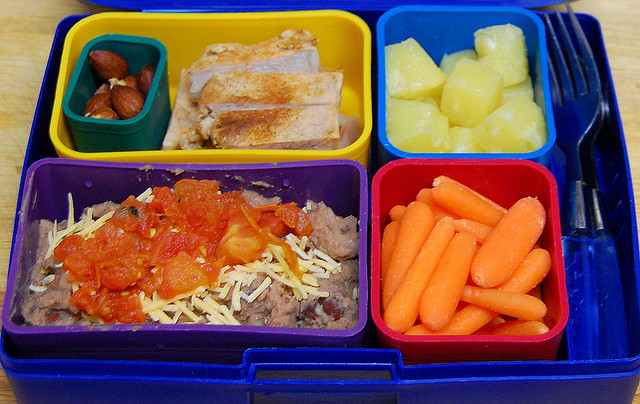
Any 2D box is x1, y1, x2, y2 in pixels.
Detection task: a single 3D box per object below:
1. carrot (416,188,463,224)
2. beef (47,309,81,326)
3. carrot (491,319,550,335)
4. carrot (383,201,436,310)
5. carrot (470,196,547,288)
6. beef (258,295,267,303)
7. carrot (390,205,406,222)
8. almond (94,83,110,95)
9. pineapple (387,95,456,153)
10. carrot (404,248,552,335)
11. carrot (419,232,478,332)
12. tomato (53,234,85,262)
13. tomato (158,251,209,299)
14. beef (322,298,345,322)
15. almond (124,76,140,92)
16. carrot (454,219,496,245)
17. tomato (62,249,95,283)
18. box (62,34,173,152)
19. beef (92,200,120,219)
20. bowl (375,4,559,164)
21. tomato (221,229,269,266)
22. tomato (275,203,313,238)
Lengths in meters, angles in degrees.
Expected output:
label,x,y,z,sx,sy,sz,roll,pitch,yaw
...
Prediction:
label,x,y,z,sx,sy,sz,roll,pitch,yaw
carrot,0.442,0.011,2.282,0.193,0.064,0.092,31,76,8
beef,-0.937,0.409,2.168,0.067,0.019,0.077,2,59,1
carrot,0.700,0.437,2.088,0.180,0.048,0.058,-10,76,21
carrot,0.305,0.158,2.267,0.156,0.562,0.153,-3,31,-8
carrot,0.689,0.156,2.263,0.172,0.142,0.402,32,76,21
beef,-0.209,0.355,2.194,0.032,0.023,0.009,-15,42,-21
carrot,0.304,0.039,2.354,0.054,0.066,0.056,-18,81,3
almond,-0.954,-0.502,2.625,0.049,0.010,0.052,-5,80,5
pineapple,0.408,-0.328,2.506,0.251,0.131,0.218,3,40,-1
carrot,0.554,0.319,2.118,0.379,0.081,0.100,-33,62,-3
carrot,0.459,0.264,2.177,0.127,0.133,0.401,26,58,3
tomato,-0.941,0.164,2.250,0.117,0.037,0.075,-51,27,-19
tomato,-0.502,0.260,2.181,0.185,0.115,0.116,-8,41,-13
beef,0.052,0.390,2.209,0.083,0.041,0.059,32,48,29
almond,-0.833,-0.536,2.651,0.069,0.039,0.071,-18,73,-11
carrot,0.578,0.098,2.309,0.193,0.064,0.060,18,61,6
tomato,-0.889,0.217,2.176,0.046,0.143,0.138,-14,61,14
box,-0.847,-0.428,2.700,0.378,0.360,0.564,3,59,1
beef,-0.864,0.020,2.429,0.102,0.024,0.075,-31,50,-26
bowl,0.597,-0.499,2.526,0.748,0.406,0.770,2,40,-2
tomato,-0.277,0.168,2.227,0.170,0.110,0.079,-25,47,-30
tomato,-0.098,0.050,2.319,0.168,0.188,0.053,6,55,19
